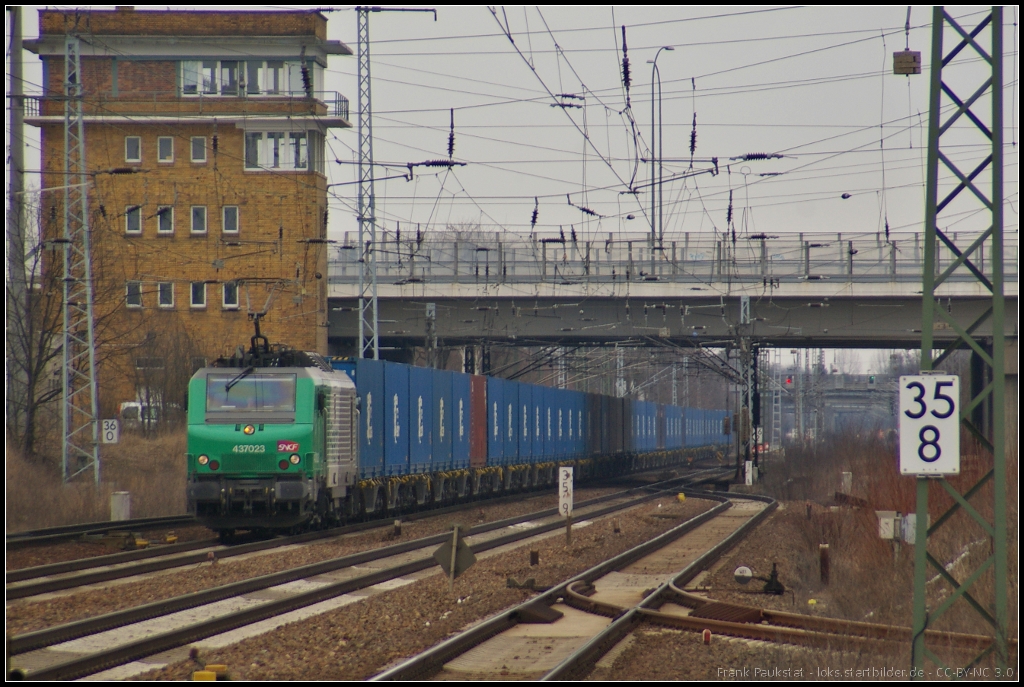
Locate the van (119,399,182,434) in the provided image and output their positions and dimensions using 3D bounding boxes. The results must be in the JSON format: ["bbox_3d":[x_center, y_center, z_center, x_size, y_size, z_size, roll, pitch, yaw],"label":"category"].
[{"bbox_3d":[-16.135,3.245,76.463,2.766,1.503,4.539,-2,-1,-12],"label":"van"}]
